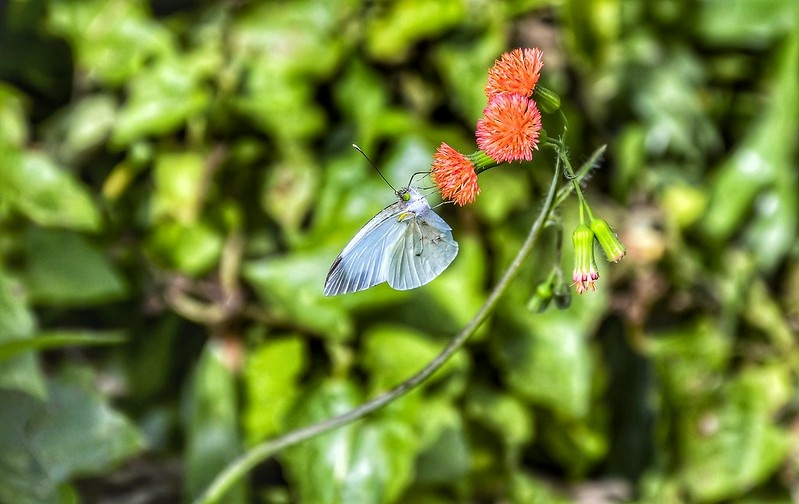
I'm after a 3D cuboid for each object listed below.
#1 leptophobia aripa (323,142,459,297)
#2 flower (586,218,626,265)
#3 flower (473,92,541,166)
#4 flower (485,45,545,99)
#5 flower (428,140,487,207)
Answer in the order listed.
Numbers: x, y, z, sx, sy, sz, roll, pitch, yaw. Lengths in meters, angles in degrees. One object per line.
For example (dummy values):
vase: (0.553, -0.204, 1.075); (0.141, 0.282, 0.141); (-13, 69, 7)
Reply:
leptophobia aripa: (-0.019, -0.011, 1.932); (0.256, 0.284, 0.217); (36, 96, -2)
flower: (0.359, -0.013, 1.762); (0.046, 0.037, 0.086); (-30, 75, -2)
flower: (0.190, -0.197, 1.744); (0.102, 0.069, 0.126); (-18, 85, 7)
flower: (0.219, -0.343, 1.799); (0.110, 0.114, 0.072); (10, 92, -39)
flower: (0.102, -0.155, 1.772); (0.096, 0.140, 0.069); (6, 78, -6)
